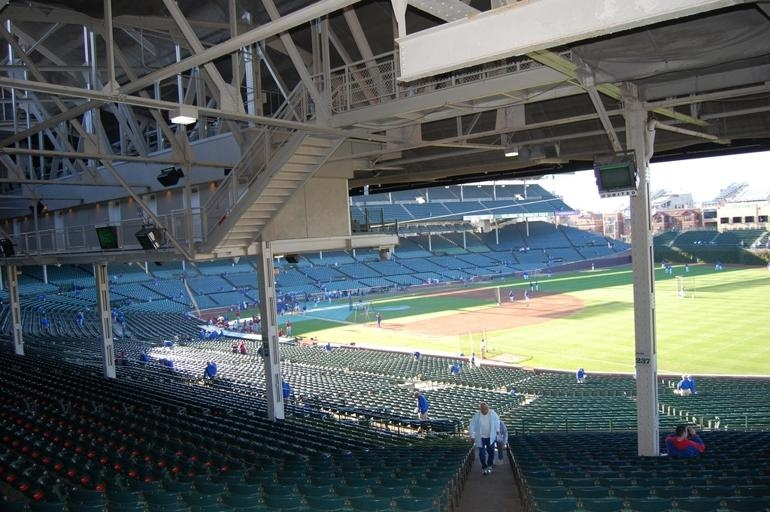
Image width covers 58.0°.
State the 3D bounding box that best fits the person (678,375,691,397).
[{"bbox_3d":[11.831,5.212,27.624,0.555,0.719,0.488,11,23,38],"label":"person"}]

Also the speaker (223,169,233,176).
[{"bbox_3d":[-5.691,-3.034,25.164,0.171,0.240,0.583,-1,1,-23],"label":"speaker"}]

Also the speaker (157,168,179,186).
[{"bbox_3d":[-8.382,-3.118,27.144,0.809,0.726,0.619,-1,1,-15],"label":"speaker"}]

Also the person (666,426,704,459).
[{"bbox_3d":[7.616,4.737,17.756,0.860,0.767,0.854,0,1,18],"label":"person"}]

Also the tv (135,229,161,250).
[{"bbox_3d":[-8.014,-0.559,23.645,0.856,0.690,0.439,-6,32,38],"label":"tv"}]

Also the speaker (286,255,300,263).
[{"bbox_3d":[-3.588,0.138,26.851,0.483,0.354,0.343,-6,29,6],"label":"speaker"}]

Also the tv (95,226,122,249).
[{"bbox_3d":[-10.257,-0.697,25.996,1.064,0.849,0.346,-19,-9,38],"label":"tv"}]

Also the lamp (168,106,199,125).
[{"bbox_3d":[-4.937,-3.536,17.614,0.824,0.380,0.773,-2,1,30],"label":"lamp"}]
